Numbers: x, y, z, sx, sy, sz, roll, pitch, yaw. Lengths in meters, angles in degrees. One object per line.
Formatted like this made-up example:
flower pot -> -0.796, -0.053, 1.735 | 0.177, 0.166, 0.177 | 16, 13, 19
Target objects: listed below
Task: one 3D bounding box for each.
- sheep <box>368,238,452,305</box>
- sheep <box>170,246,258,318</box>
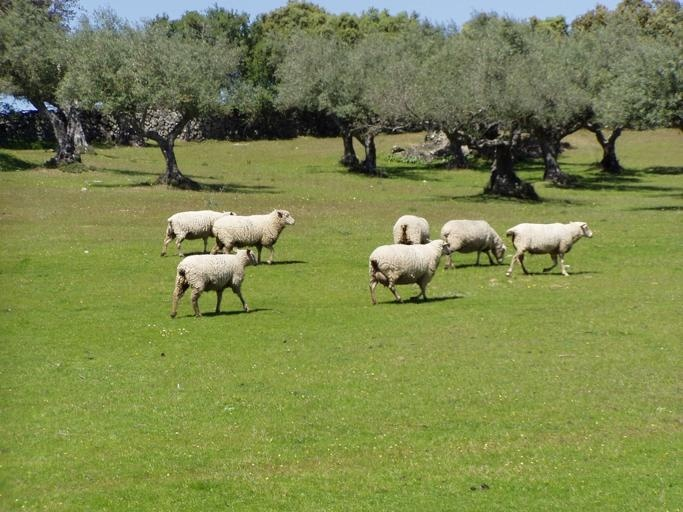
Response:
sheep -> 2.538, 0.563, 33.523 | 3.364, 2.145, 1.295 | -3, 4, -33
sheep -> -4.231, 0.956, 31.788 | 1.401, 2.176, 2.835 | 11, 17, 35
